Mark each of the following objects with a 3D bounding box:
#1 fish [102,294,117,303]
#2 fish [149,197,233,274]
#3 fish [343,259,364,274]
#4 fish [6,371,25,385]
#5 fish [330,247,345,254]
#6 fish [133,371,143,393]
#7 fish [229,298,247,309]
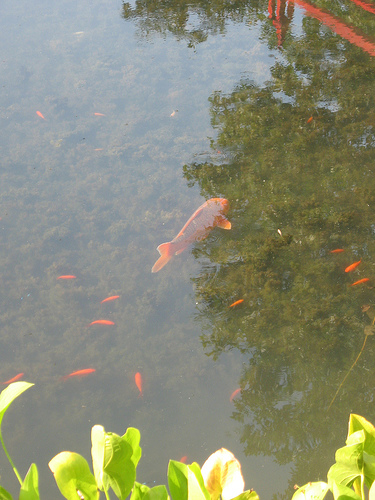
[{"bbox_3d":[-0.574,0.362,4.671,0.135,0.021,0.063,-14,38,-9],"label":"fish"},{"bbox_3d":[0.061,-0.150,5.054,0.858,0.345,0.334,-39,90,-22],"label":"fish"},{"bbox_3d":[1.239,0.121,4.653,0.147,0.058,0.052,-18,39,-14],"label":"fish"},{"bbox_3d":[-1.180,0.889,4.268,0.144,0.034,0.071,-25,41,-22],"label":"fish"},{"bbox_3d":[1.149,0.001,4.775,0.110,0.023,0.057,-12,38,-7],"label":"fish"},{"bbox_3d":[-0.328,0.895,4.210,0.063,0.026,0.109,8,57,-30],"label":"fish"},{"bbox_3d":[0.367,0.389,4.549,0.106,0.035,0.052,-28,85,-7],"label":"fish"}]
